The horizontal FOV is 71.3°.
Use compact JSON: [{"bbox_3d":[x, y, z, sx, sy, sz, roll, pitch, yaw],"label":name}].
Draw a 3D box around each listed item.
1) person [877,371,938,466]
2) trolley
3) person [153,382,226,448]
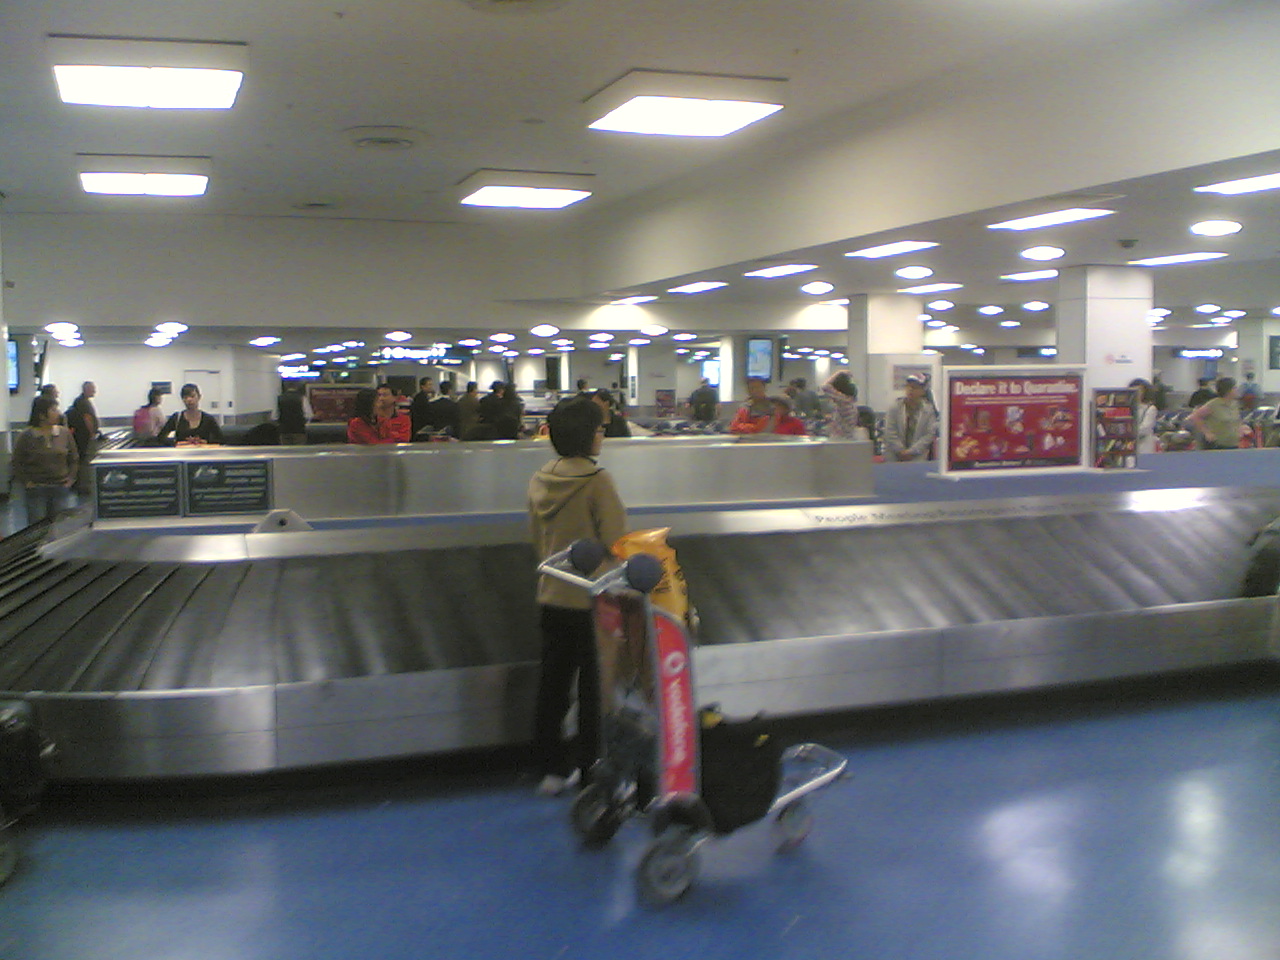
[{"bbox_3d":[2.785,-0.619,9.216,0.485,0.959,1.161,3,10,16],"label":"person"},{"bbox_3d":[0.265,0.867,3.508,1.143,1.197,0.679,1,-4,-28],"label":"trolley"},{"bbox_3d":[-4.217,-0.504,8.427,0.566,0.824,0.372,-5,6,-25],"label":"person"}]
